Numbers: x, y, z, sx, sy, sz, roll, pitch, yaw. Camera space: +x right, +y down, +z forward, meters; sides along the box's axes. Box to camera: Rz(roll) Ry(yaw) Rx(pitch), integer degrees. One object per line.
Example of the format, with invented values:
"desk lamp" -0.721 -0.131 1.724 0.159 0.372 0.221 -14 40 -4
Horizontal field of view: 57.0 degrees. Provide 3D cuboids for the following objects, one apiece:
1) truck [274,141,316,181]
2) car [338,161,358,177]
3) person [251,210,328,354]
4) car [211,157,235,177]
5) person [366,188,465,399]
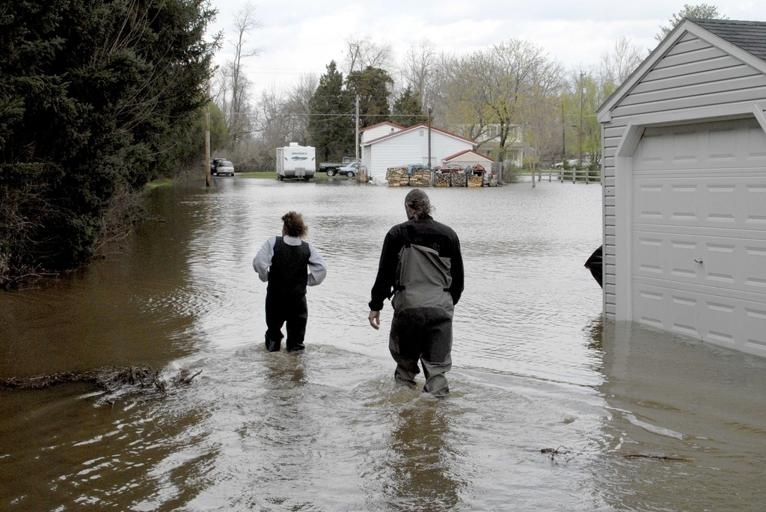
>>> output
"truck" -7.413 -7.861 59.312 2.298 2.282 4.478 -1 3 -11
"car" -3.067 -8.539 69.395 1.326 0.896 2.625 6 15 31
"person" -1.198 0.454 9.026 0.859 1.550 0.269 -2 12 -7
"car" -16.039 -8.803 70.359 1.441 1.259 3.007 -5 5 -27
"person" 0.372 0.401 7.595 0.907 2.174 0.409 2 13 13
